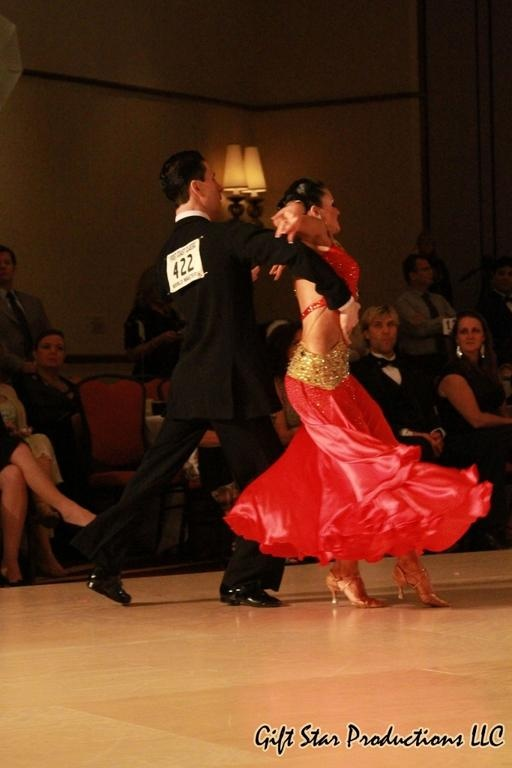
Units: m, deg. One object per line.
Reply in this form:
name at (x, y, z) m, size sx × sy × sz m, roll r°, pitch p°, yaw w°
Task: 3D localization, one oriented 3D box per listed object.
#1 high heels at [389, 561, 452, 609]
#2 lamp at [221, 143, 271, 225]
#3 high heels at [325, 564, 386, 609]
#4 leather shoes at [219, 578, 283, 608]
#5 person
high heels at (0.526, 0.647, 2.287) m, size 0.156 × 0.169 × 0.377 m, roll -5°, pitch -7°, yaw 2°
lamp at (-0.072, -1.322, 4.586) m, size 0.331 × 0.516 × 0.266 m, roll 3°, pitch 16°, yaw 14°
high heels at (0.292, 0.634, 2.192) m, size 0.255 × 0.162 × 0.107 m, roll 1°, pitch 4°, yaw 7°
leather shoes at (-0.030, 0.695, 2.276) m, size 0.234 × 0.089 × 0.078 m, roll -2°, pitch 0°, yaw 15°
person at (-0.021, -0.030, 2.189) m, size 1.230 × 1.509 × 0.491 m, roll -10°, pitch -9°, yaw 32°
